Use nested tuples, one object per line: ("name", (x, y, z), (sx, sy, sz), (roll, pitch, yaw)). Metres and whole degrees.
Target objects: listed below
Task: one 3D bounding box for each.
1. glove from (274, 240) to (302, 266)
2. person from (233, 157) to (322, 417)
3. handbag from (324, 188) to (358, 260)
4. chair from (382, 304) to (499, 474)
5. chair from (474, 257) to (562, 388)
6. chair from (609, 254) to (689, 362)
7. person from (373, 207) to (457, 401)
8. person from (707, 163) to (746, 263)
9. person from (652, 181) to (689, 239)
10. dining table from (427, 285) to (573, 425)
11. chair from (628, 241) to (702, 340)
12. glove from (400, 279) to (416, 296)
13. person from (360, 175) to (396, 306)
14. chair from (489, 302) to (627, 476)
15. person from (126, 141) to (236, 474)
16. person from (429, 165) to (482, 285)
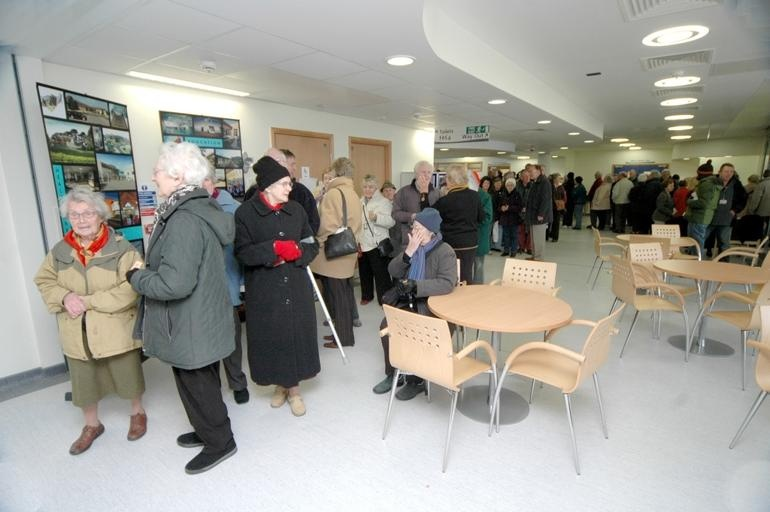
("glove", (-0.918, -0.049, 4.622), (0.216, 0.198, 0.072), (39, -26, -29))
("person", (-1.045, 0.320, 4.854), (0.791, 2.454, 0.786), (-2, 12, -14))
("handbag", (-0.533, -0.353, 5.650), (0.343, 0.791, 0.313), (-6, 14, -22))
("chair", (0.534, 1.149, 4.747), (0.974, 1.510, 0.980), (9, 15, 40))
("chair", (1.509, 0.577, 5.477), (0.630, 1.007, 0.639), (6, 13, 30))
("chair", (3.181, 0.654, 6.003), (1.061, 1.429, 1.008), (-3, 8, 1))
("person", (0.337, 0.465, 5.280), (0.893, 1.918, 0.768), (7, 14, 22))
("person", (5.907, -0.691, 8.758), (0.672, 1.828, 0.522), (6, 22, 23))
("person", (5.970, -0.883, 10.623), (0.524, 1.486, 0.417), (-23, 29, -38))
("dining table", (1.021, 0.979, 4.925), (1.321, 1.201, 1.708), (9, 11, 12))
("chair", (3.387, 0.562, 6.369), (0.685, 1.461, 0.840), (-1, 7, -12))
("glove", (0.219, 0.313, 4.840), (0.163, 0.172, 0.070), (-2, 13, -6))
("person", (-0.129, -0.152, 6.840), (0.472, 1.853, 0.528), (3, 30, 4))
("chair", (1.596, 1.094, 4.726), (1.034, 1.355, 1.069), (5, 14, 25))
("person", (-1.616, 0.354, 4.443), (0.933, 2.861, 1.004), (4, 10, 21))
("person", (0.861, -0.452, 6.482), (0.624, 1.646, 0.465), (-7, 11, -41))
